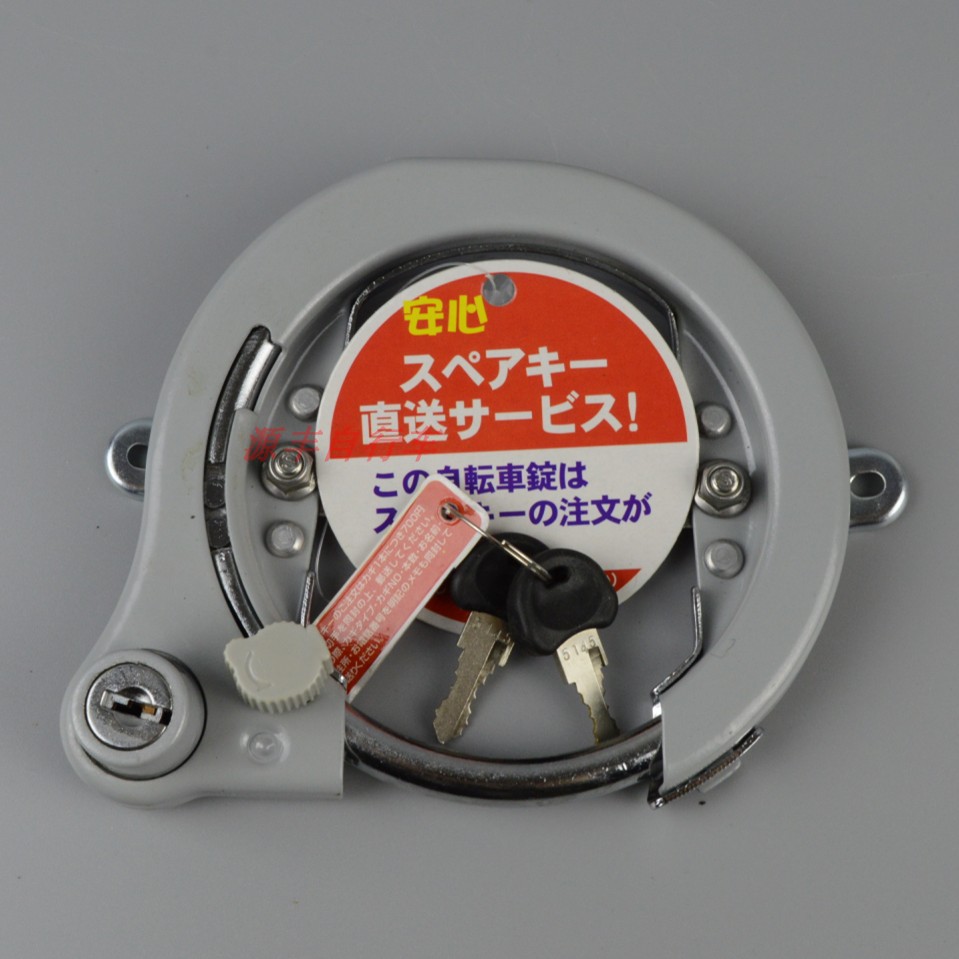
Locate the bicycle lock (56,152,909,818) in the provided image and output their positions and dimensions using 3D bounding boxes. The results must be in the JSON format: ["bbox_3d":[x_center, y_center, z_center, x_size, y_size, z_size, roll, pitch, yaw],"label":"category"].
[{"bbox_3d":[-0.005,-0.012,0.929,0.628,0.175,0.541,1,84,2],"label":"bicycle lock"}]
